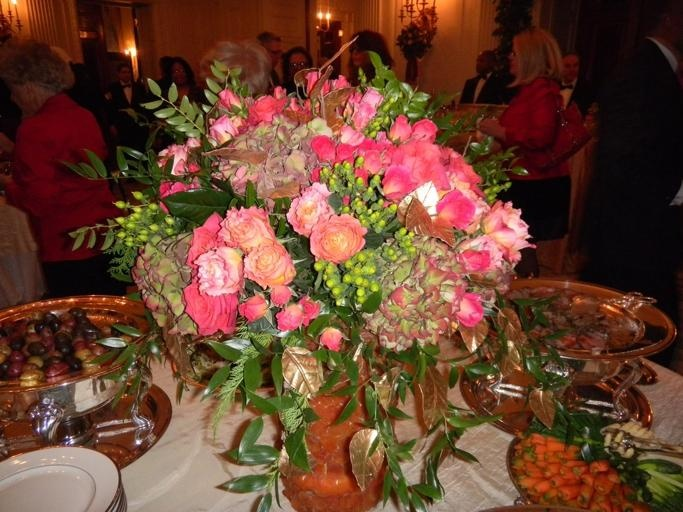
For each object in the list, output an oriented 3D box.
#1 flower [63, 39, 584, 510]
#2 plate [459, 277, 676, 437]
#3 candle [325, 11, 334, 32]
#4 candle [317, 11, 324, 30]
[{"bbox_3d":[0.040,0.014,1.222,1.043,0.851,0.934,1,-3,-8],"label":"flower"},{"bbox_3d":[0.606,0.319,1.345,0.480,0.240,0.423,-1,23,0],"label":"plate"},{"bbox_3d":[-0.235,-4.675,9.557,0.051,0.299,0.264,7,21,18],"label":"candle"},{"bbox_3d":[-0.398,-4.564,9.375,0.045,0.295,0.155,16,26,35],"label":"candle"}]
